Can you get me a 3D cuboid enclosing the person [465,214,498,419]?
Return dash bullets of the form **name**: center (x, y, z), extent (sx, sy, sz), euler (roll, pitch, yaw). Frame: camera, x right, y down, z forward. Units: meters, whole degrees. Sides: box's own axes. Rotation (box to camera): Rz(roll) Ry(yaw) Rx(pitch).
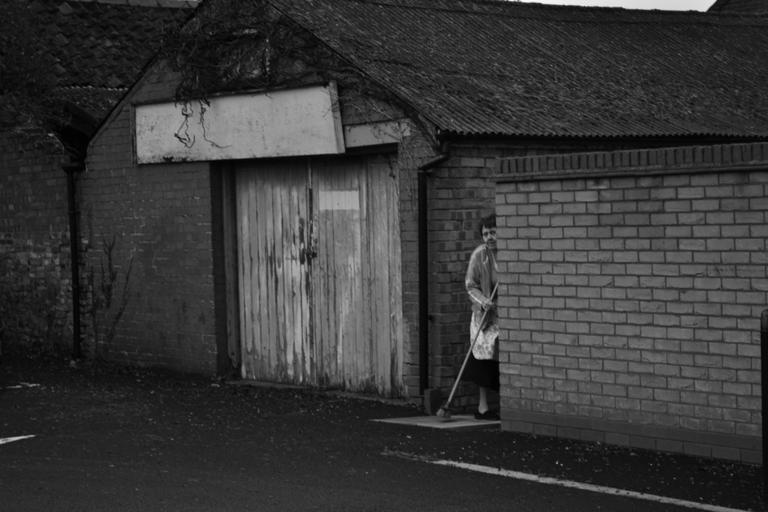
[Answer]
- **person**: center (1.373, 0.620, 10.513), extent (0.363, 2.301, 0.553), euler (-4, 6, -33)
